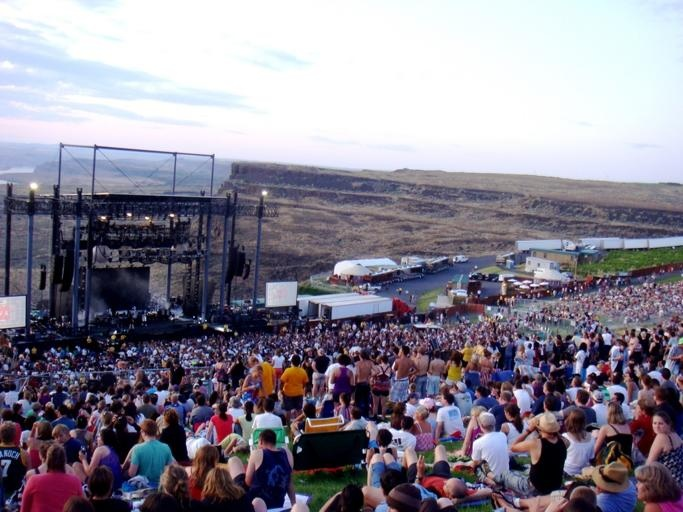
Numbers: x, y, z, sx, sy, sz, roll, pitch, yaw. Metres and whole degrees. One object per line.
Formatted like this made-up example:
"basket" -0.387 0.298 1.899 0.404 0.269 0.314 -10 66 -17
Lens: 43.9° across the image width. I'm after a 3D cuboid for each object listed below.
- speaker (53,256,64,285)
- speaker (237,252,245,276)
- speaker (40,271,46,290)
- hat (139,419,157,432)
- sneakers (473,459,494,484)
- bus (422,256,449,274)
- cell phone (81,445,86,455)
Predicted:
"speaker" -14.296 0.607 42.824 0.485 1.408 0.846 -1 5 -19
"speaker" -6.146 0.360 51.850 0.518 1.432 1.456 3 2 10
"speaker" -15.553 1.158 44.239 0.251 1.007 0.741 -1 5 -28
"hat" -3.611 3.175 15.993 0.230 0.291 0.273 2 29 -34
"sneakers" 2.716 4.118 16.120 0.193 0.216 0.508 -4 48 -12
"bus" 9.280 0.812 83.394 1.166 1.130 4.503 -4 2 19
"cell phone" -4.933 3.733 16.280 0.111 0.196 0.116 2 -5 -25
